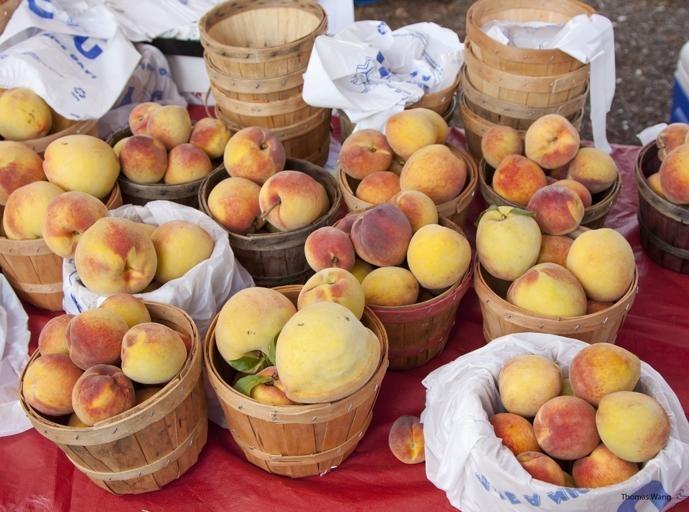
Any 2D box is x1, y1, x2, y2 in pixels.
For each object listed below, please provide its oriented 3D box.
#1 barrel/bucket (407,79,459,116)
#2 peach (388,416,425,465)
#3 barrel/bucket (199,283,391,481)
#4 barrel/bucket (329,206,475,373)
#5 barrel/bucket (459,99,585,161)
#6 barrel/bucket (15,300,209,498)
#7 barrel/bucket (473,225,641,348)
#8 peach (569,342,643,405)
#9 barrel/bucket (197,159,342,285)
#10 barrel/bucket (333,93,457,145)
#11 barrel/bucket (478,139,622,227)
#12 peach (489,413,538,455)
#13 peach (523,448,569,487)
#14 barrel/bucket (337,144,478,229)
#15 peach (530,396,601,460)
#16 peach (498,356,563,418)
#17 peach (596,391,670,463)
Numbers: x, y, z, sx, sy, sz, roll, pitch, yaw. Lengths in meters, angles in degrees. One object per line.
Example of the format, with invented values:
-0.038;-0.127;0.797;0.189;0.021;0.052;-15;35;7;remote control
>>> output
0.510;-0.966;3.765;0.260;0.228;0.255;3;22;-1;barrel/bucket
0.290;0.768;2.770;0.156;0.189;0.212;1;24;10;peach
-0.184;0.590;2.899;0.750;0.610;0.831;-7;33;-11;barrel/bucket
0.318;0.217;3.220;0.575;0.540;0.669;-16;45;-7;barrel/bucket
1.053;-0.857;3.925;0.379;0.393;0.653;-19;30;-34;barrel/bucket
-0.929;0.671;2.832;0.692;0.784;0.730;-2;26;1;barrel/bucket
0.969;0.192;2.852;0.557;0.373;0.575;-10;41;9;barrel/bucket
1.023;0.475;2.521;0.220;0.246;0.240;7;49;12;peach
-0.315;-0.140;3.572;0.707;0.686;0.705;-3;40;2;barrel/bucket
0.284;-0.930;4.205;0.761;0.374;0.729;-2;27;1;barrel/bucket
1.106;-0.278;3.343;0.443;0.422;0.605;-23;33;-36;barrel/bucket
0.675;0.703;2.580;0.136;0.145;0.150;-41;84;-6;peach
0.747;0.813;2.425;0.173;0.068;0.122;1;45;5;peach
0.364;-0.357;3.485;0.610;0.469;0.751;2;27;25;barrel/bucket
0.857;0.668;2.446;0.151;0.137;0.195;-25;27;-21;peach
0.739;0.516;2.560;0.232;0.248;0.240;-19;23;-21;peach
1.093;0.653;2.412;0.273;0.203;0.189;3;43;7;peach
